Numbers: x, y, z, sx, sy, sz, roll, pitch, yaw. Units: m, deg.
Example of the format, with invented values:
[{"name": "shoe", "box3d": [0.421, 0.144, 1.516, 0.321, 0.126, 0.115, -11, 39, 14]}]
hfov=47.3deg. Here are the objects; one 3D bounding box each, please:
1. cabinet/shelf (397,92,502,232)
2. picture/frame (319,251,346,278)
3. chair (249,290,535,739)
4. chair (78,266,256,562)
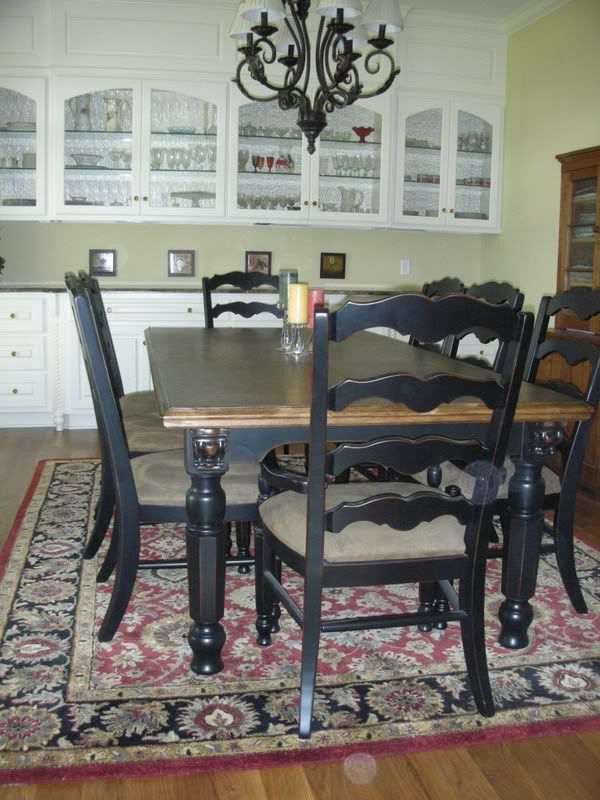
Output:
[{"name": "cabinet/shelf", "box3d": [0.949, -1.583, 4.694, 0.800, 0.830, 0.307, -1, 8, -15]}, {"name": "picture/frame", "box3d": [0.218, -0.963, 4.824, 0.203, 0.184, 0.026, 0, 13, -13]}, {"name": "chair", "box3d": [0.158, 0.215, 1.439, 0.521, 0.799, 0.490, -1, 8, -14]}, {"name": "chair", "box3d": [-0.498, 0.031, 2.428, 0.511, 0.719, 0.442, -5, 27, -4]}]
